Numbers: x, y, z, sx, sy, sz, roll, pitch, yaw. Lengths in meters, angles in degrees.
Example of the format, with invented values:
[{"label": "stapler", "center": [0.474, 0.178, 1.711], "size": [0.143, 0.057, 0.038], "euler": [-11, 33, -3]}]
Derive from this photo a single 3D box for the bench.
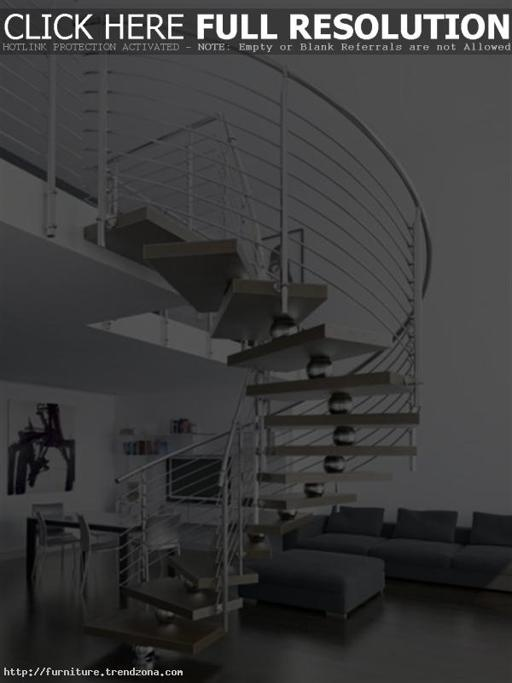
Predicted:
[{"label": "bench", "center": [0.448, 2.007, 6.531], "size": [0.889, 0.349, 0.772], "euler": [-2, -3, 30]}]
